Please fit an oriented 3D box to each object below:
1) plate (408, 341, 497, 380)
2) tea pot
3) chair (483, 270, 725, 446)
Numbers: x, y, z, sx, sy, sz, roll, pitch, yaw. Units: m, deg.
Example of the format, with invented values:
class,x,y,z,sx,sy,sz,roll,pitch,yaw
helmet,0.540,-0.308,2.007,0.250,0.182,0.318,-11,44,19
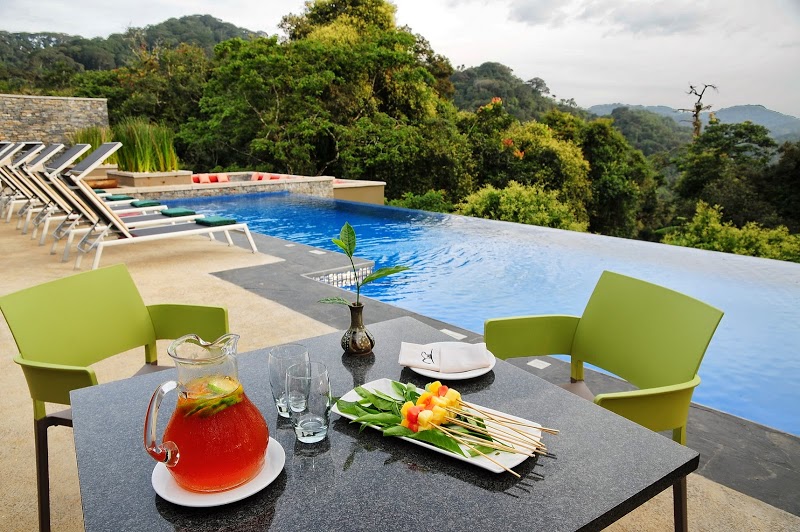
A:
class,x,y,z,sx,sy,sz,roll,pitch,yaw
plate,0.193,0.360,1.609,0.294,0.072,0.294,0,9,-7
tea pot,-0.493,0.363,1.145,0.290,0.404,0.269,4,12,-1
chair,0.999,0.338,2.052,0.819,1.085,0.722,-7,15,-34
